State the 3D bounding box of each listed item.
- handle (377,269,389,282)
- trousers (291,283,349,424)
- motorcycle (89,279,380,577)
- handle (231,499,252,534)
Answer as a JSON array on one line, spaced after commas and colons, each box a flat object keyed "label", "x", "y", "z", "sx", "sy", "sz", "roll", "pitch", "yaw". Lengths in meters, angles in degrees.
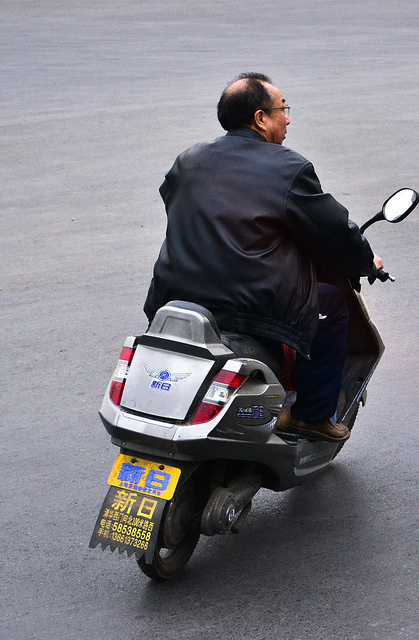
[{"label": "handle", "x": 0.777, "y": -0.196, "z": 2.504, "sx": 0.049, "sy": 0.052, "sz": 0.063, "roll": -2, "pitch": 16, "yaw": -2}, {"label": "trousers", "x": 0.486, "y": 0.178, "z": 2.506, "sx": 0.243, "sy": 0.594, "sz": 0.130, "roll": -1, "pitch": 8, "yaw": 6}, {"label": "motorcycle", "x": 0.175, "y": 0.306, "z": 2.400, "sx": 0.802, "sy": 1.029, "sz": 1.649, "roll": 8, "pitch": 14, "yaw": 32}, {"label": "handle", "x": 0.125, "y": 0.726, "z": 2.116, "sx": 0.044, "sy": 0.033, "sz": 0.187, "roll": 8, "pitch": 41, "yaw": 22}]
